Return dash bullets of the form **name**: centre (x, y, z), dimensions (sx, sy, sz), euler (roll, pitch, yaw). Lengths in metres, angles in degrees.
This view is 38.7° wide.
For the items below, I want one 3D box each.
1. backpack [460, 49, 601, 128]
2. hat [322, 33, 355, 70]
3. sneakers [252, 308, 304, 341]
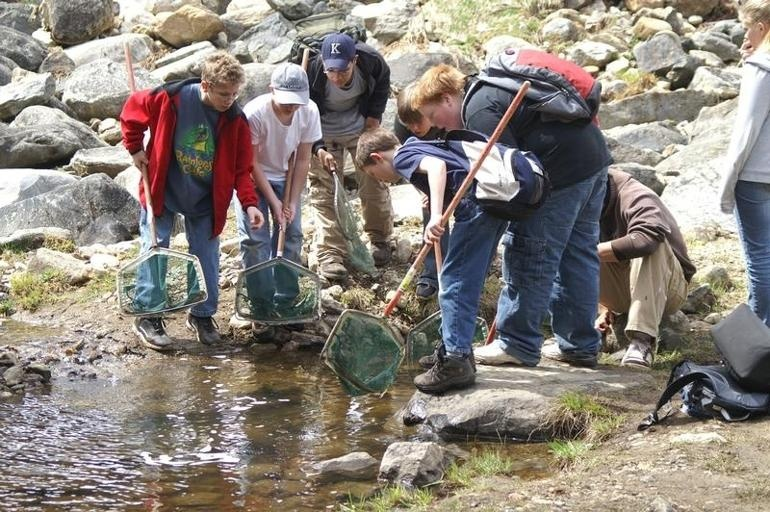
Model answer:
- **backpack**: centre (1.465, -1.568, 10.798), dimensions (1.095, 0.455, 0.784), euler (22, 36, 1)
- **hat**: centre (-0.535, -2.358, 12.550), dimensions (0.328, 0.448, 0.252), euler (4, -38, 2)
- **sneakers**: centre (-1.183, 0.825, 12.662), dimensions (0.653, 0.240, 0.215), euler (-4, 19, -16)
